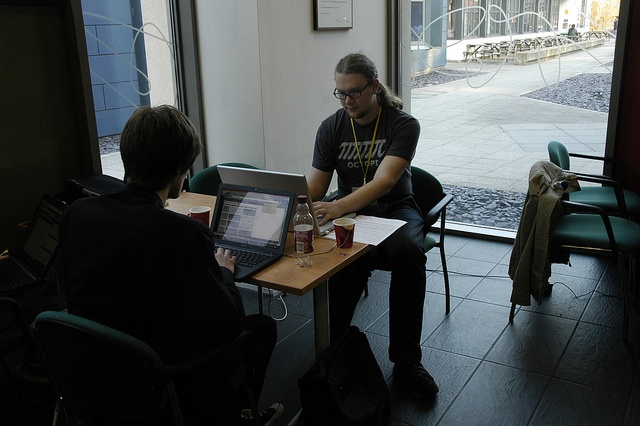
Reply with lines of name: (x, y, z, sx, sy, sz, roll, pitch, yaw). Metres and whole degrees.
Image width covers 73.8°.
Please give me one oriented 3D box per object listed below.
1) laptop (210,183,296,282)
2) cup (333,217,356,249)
laptop: (-0.433, 0.061, 2.070, 0.482, 0.330, 0.445, 7, 12, 26)
cup: (0.122, 0.099, 2.214, 0.121, 0.135, 0.130, -1, 9, 0)
